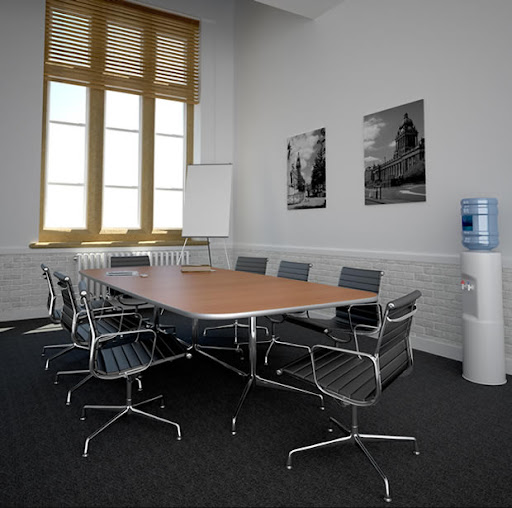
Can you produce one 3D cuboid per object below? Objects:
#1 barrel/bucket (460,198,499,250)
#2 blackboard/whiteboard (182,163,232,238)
[{"bbox_3d":[1.687,-0.226,2.982,0.210,0.402,0.186,0,3,-12],"label":"barrel/bucket"},{"bbox_3d":[-0.694,-0.733,5.523,0.745,1.026,0.019,-5,18,-34],"label":"blackboard/whiteboard"}]
